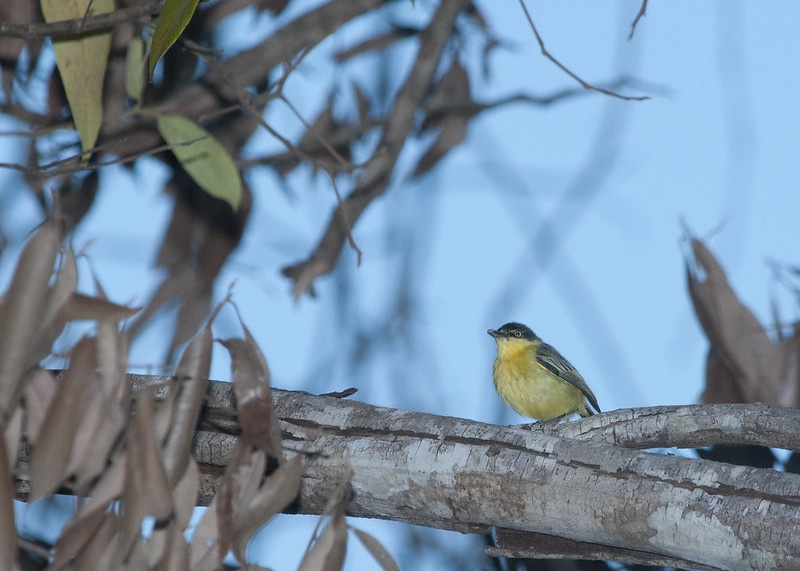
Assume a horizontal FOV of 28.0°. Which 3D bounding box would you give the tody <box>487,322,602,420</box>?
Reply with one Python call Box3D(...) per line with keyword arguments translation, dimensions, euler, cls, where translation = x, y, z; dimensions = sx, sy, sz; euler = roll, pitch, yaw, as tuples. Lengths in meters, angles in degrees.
Box3D(translation=(0.846, 0.526, 9.321), dimensions=(0.421, 0.616, 0.747), euler=(-19, -17, 41), cls="tody")
